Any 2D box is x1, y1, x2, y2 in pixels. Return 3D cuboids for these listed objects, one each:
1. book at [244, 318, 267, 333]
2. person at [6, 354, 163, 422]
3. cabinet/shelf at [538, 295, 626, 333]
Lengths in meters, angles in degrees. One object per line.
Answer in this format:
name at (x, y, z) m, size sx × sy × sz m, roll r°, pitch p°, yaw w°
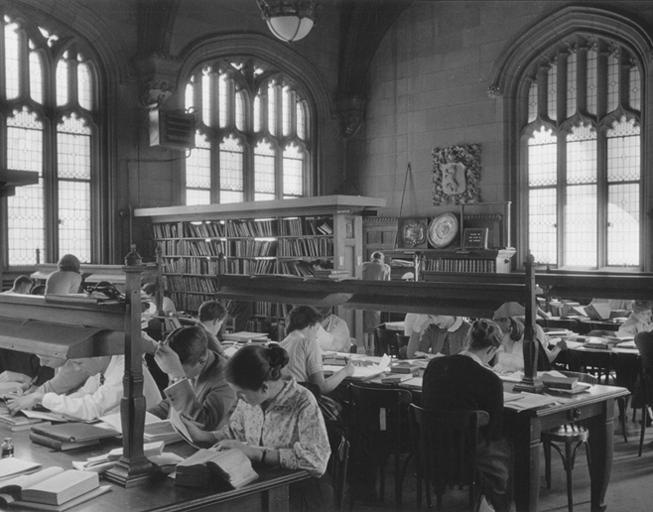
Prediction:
book at (-1.254, 1.259, 15.048) m, size 0.312 × 0.335 × 0.238 m, roll 3°, pitch 3°, yaw 34°
person at (-1.992, 1.165, 6.990) m, size 0.895 × 0.479 × 0.698 m, roll -1°, pitch -14°, yaw -34°
cabinet/shelf at (3.558, 0.843, 11.855) m, size 1.175 × 0.309 × 1.115 m, roll 2°, pitch 3°, yaw 39°
